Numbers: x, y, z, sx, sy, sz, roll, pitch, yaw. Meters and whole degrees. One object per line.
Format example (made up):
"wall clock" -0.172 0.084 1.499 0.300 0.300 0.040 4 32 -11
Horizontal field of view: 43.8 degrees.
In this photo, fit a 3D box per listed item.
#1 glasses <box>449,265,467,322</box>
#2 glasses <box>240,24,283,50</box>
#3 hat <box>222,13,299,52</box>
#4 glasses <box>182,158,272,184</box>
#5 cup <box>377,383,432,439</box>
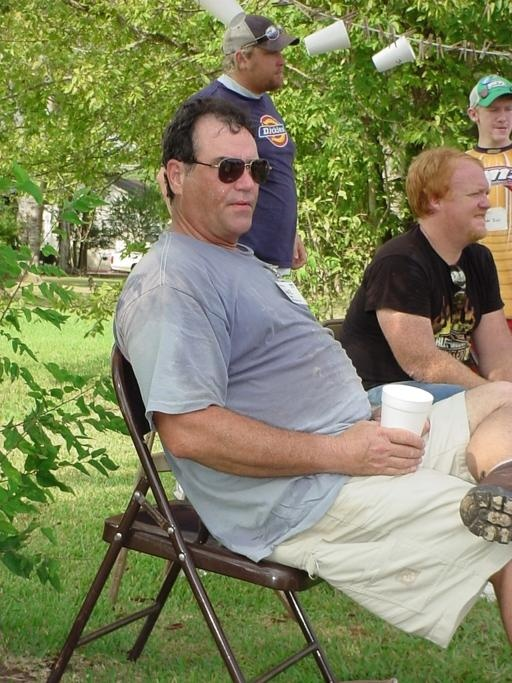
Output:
"glasses" 0.783 -0.192 2.445 0.035 0.152 0.103 4 5 31
"glasses" 0.040 -1.509 3.198 0.139 0.038 0.121 -18 16 19
"hat" 0.014 -1.559 3.249 0.368 0.150 0.241 4 25 15
"glasses" -0.089 -0.449 1.675 0.131 0.036 0.127 4 7 44
"cup" 0.347 0.155 1.544 0.139 0.111 0.117 12 14 -2
